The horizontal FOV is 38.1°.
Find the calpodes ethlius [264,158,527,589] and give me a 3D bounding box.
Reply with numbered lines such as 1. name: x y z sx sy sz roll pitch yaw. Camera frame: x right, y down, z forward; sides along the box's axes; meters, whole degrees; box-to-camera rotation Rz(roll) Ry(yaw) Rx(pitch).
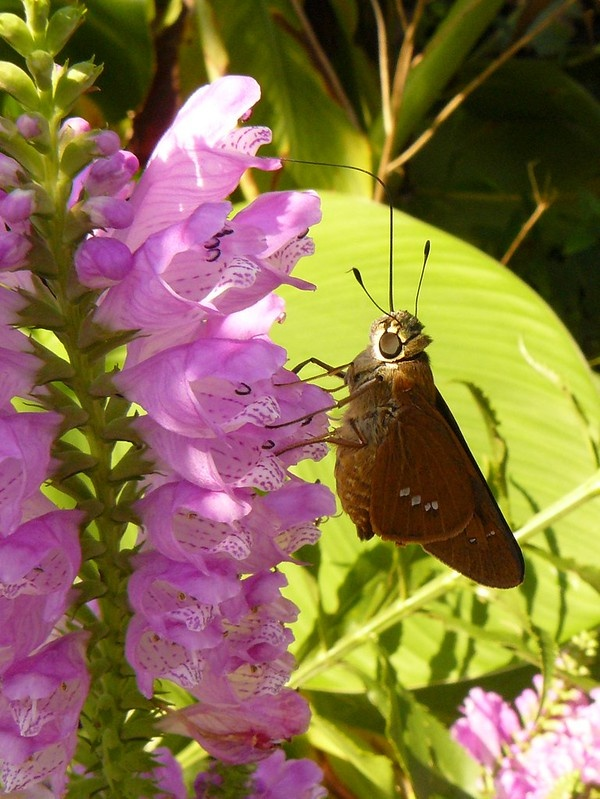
1. calpodes ethlius: 0.136 -0.040 1.103 0.313 0.483 0.304 -9 -1 2
